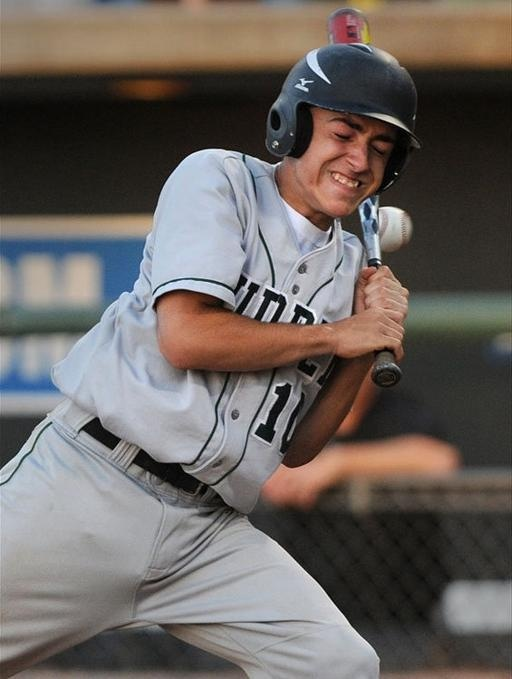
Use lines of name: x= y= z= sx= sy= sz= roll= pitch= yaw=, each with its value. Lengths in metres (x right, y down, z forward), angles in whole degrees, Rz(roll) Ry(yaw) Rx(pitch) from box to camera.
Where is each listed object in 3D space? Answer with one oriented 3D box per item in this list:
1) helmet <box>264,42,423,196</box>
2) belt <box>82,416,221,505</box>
helmet: x=0.229 y=-0.512 z=2.372 sx=0.296 sy=0.238 sz=0.326 roll=18 pitch=14 yaw=-32
belt: x=-0.239 y=0.264 z=2.305 sx=0.247 sy=0.063 sz=0.163 roll=29 pitch=1 yaw=-13
